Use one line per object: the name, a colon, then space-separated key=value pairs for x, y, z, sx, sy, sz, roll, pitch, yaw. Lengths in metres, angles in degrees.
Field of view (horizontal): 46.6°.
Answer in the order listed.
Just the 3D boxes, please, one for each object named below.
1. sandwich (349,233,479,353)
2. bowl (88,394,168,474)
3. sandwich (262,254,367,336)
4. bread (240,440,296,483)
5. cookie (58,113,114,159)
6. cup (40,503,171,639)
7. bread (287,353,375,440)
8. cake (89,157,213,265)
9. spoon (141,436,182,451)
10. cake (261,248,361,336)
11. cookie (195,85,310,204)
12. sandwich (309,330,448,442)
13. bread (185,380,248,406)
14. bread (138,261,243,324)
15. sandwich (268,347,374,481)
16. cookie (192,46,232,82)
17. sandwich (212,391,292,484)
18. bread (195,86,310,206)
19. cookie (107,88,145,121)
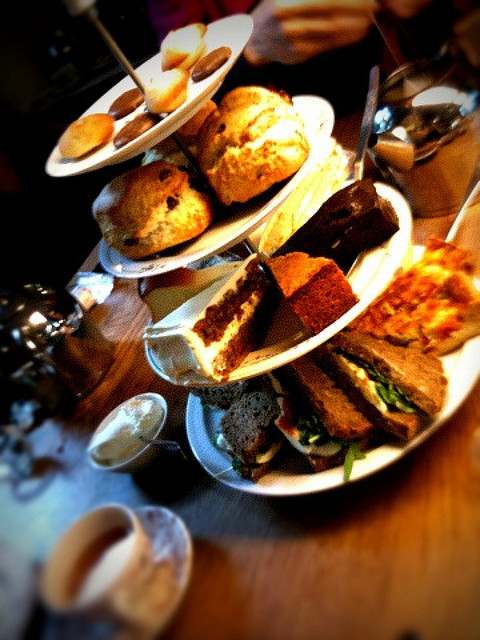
sandwich: x=0.252 y=-0.021 z=0.798 sx=0.155 sy=0.052 sz=0.161 roll=24 pitch=88 yaw=40
bowl: x=-0.155 y=0.166 z=0.817 sx=0.063 sy=0.115 sz=0.029 roll=34 pitch=94 yaw=-1
sandwich: x=0.117 y=-0.039 z=0.836 sx=0.069 sy=0.055 sz=0.115 roll=-36 pitch=29 yaw=-4
bread: x=0.044 y=0.222 z=0.872 sx=0.053 sy=0.052 sz=0.013 roll=-30 pitch=93 yaw=10
cookie: x=-0.188 y=-0.222 z=0.683 sx=0.078 sy=0.030 sz=0.066 roll=-18 pitch=62 yaw=0
cup: x=-0.107 y=0.216 z=0.483 sx=0.092 sy=0.099 sz=0.102 roll=11 pitch=66 yaw=15
bread: x=0.139 y=0.126 z=0.864 sx=0.115 sy=0.102 sz=0.128 roll=-7 pitch=26 yaw=-9
cake: x=-0.110 y=-0.133 z=0.738 sx=0.141 sy=0.138 sz=0.091 roll=-34 pitch=100 yaw=-4
spoon: x=-0.112 y=0.193 z=0.871 sx=0.079 sy=0.020 sz=0.019 roll=13 pitch=98 yaw=-21
cake: x=0.129 y=-0.052 z=0.832 sx=0.045 sy=0.129 sz=0.128 roll=-34 pitch=101 yaw=-19
cookie: x=0.024 y=-0.225 z=0.754 sx=0.144 sy=0.140 sz=0.109 roll=21 pitch=44 yaw=31
sandwich: x=0.248 y=0.124 z=0.858 sx=0.179 sy=0.129 sz=0.209 roll=-11 pitch=26 yaw=-18
bread: x=-0.033 y=0.120 z=0.923 sx=0.079 sy=0.086 sz=0.027 roll=-19 pitch=93 yaw=-4
bread: x=-0.083 y=-0.060 z=0.900 sx=0.164 sy=0.080 sz=0.081 roll=-20 pitch=62 yaw=-1
sandwich: x=0.133 y=0.149 z=0.868 sx=0.114 sy=0.064 sz=0.197 roll=-33 pitch=48 yaw=0
cookie: x=-0.031 y=-0.283 z=0.644 sx=0.049 sy=0.014 sz=0.038 roll=-23 pitch=31 yaw=24
sandwich: x=0.022 y=0.168 z=0.922 sx=0.115 sy=0.048 sz=0.149 roll=-10 pitch=47 yaw=46
bread: x=0.012 y=-0.216 z=0.686 sx=0.155 sy=0.046 sz=0.124 roll=-24 pitch=95 yaw=5
cookie: x=-0.137 y=-0.268 z=0.714 sx=0.054 sy=0.013 sz=0.054 roll=-46 pitch=30 yaw=-10
